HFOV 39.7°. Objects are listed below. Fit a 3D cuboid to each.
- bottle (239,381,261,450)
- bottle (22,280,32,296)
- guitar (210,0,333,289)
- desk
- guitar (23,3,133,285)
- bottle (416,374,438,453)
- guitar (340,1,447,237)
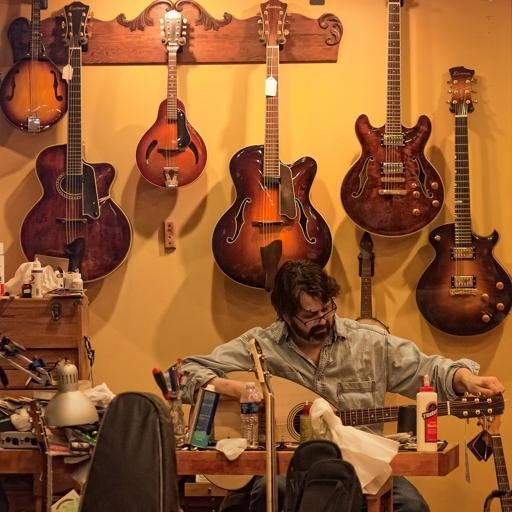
[{"bbox_3d":[-0.018,0.573,2.526,0.075,0.217,0.159,1,-4,-1],"label":"bottle"},{"bbox_3d":[-1.146,0.165,3.525,0.068,0.086,0.020,0,-3,23],"label":"bottle"},{"bbox_3d":[0.089,-0.602,3.736,0.615,1.573,0.240,1,-3,-5],"label":"guitar"},{"bbox_3d":[0.226,0.769,2.392,0.996,0.246,0.215,2,-4,-6],"label":"desk"},{"bbox_3d":[-0.953,-0.617,3.795,0.571,1.495,0.130,2,-3,-16],"label":"guitar"},{"bbox_3d":[0.586,0.541,2.427,0.072,0.250,0.103,0,-3,14],"label":"bottle"},{"bbox_3d":[0.722,-0.737,3.736,0.529,1.263,0.142,2,-3,-11],"label":"guitar"}]
